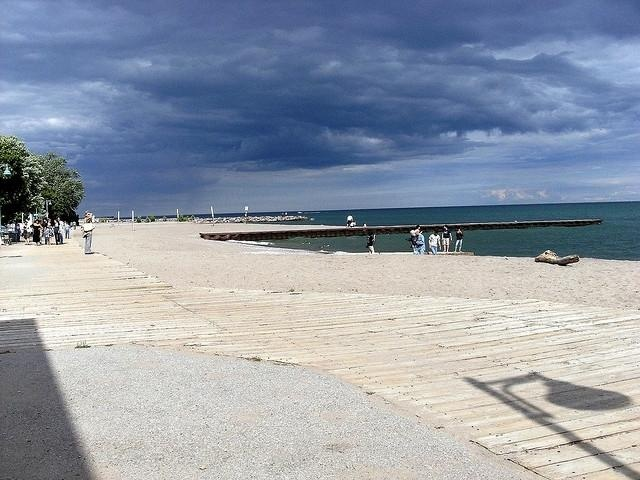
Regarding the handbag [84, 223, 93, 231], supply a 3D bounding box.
[{"bbox_3d":[-10.452,-0.542,21.596,0.310,0.399,0.533,-2,9,-17],"label":"handbag"}]
